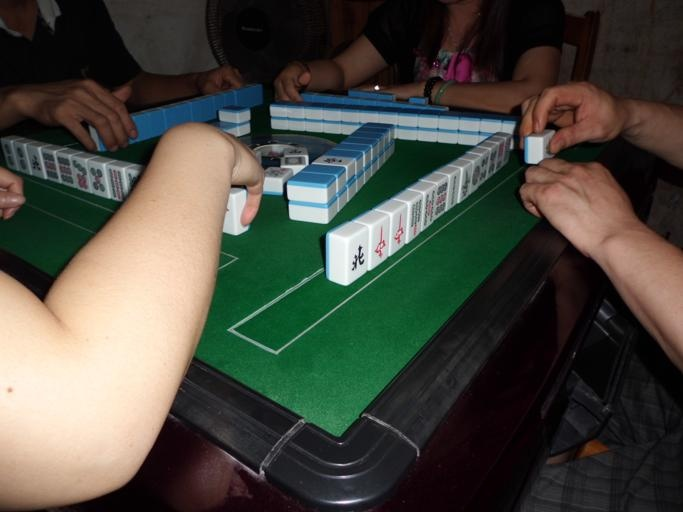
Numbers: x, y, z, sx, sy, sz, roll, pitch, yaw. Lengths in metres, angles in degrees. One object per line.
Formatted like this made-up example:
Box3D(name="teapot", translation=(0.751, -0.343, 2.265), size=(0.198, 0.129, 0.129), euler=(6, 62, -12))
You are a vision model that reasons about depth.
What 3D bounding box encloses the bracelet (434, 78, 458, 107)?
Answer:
Box3D(name="bracelet", translation=(0.478, -0.759, 2.170), size=(0.033, 0.127, 0.121), euler=(31, 70, 18))
